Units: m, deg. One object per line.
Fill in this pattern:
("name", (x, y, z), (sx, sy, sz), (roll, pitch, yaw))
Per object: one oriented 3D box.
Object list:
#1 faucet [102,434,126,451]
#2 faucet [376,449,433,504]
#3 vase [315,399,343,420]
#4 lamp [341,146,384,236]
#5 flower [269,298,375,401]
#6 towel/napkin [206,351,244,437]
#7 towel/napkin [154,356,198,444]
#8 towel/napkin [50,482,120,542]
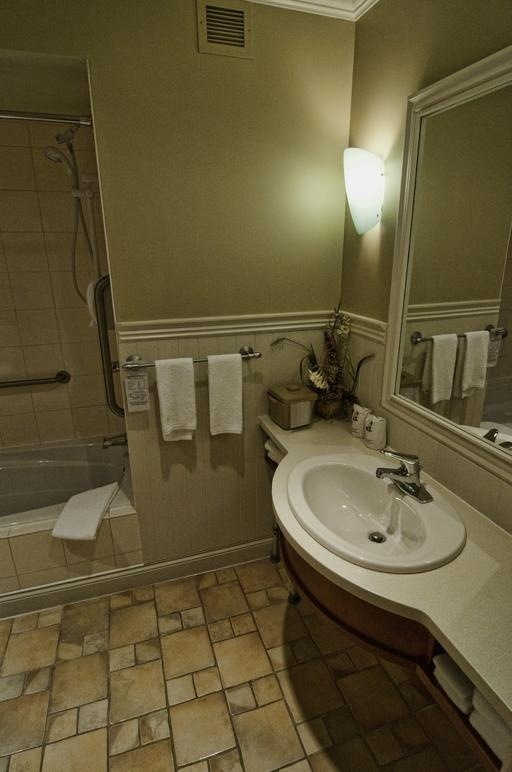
("faucet", (-0.781, 0.316, 2.707), (0.087, 0.054, 0.090), (-3, 21, -3))
("faucet", (0.410, 0.238, 1.306), (0.163, 0.084, 0.059), (11, 12, 16))
("vase", (0.292, 0.094, 1.957), (0.083, 0.086, 0.086), (0, 10, -8))
("lamp", (0.360, -0.651, 1.643), (0.098, 0.273, 0.141), (-4, 17, -12))
("flower", (0.262, -0.114, 1.946), (0.396, 0.378, 0.268), (4, 17, 12))
("towel/napkin", (-0.120, 0.030, 1.871), (0.133, 0.310, 0.029), (0, -19, -5))
("towel/napkin", (-0.280, 0.057, 1.813), (0.164, 0.315, 0.055), (-14, 21, -39))
("towel/napkin", (-0.686, 0.525, 1.994), (0.194, 0.086, 0.346), (-1, 17, -3))
